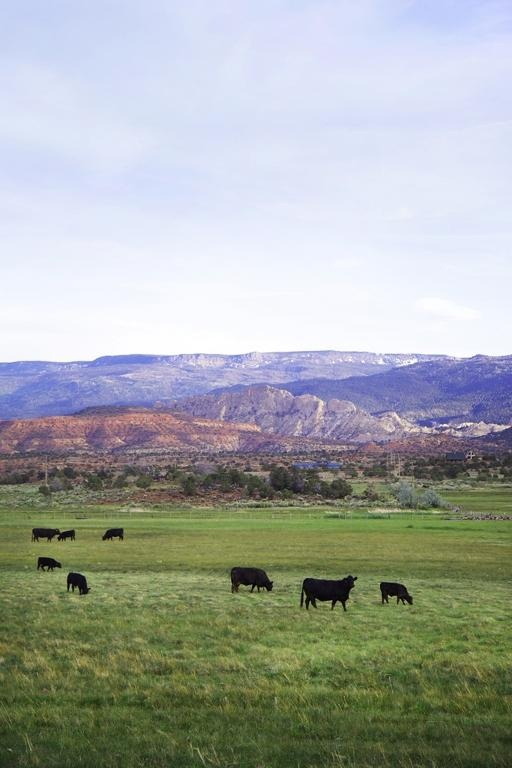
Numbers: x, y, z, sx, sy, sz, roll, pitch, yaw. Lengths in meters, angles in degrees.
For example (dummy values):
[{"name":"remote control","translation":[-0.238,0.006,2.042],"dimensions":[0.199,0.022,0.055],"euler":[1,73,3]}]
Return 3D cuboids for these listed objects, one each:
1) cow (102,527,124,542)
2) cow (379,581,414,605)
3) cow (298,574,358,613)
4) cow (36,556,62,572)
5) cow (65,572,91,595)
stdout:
[{"name":"cow","translation":[-9.470,9.926,53.034],"dimensions":[1.318,0.753,2.926],"euler":[0,-2,-5]},{"name":"cow","translation":[4.690,6.985,26.776],"dimensions":[1.044,0.662,0.781],"euler":[0,-1,9]},{"name":"cow","translation":[2.338,6.810,25.963],"dimensions":[1.813,1.156,0.608],"euler":[1,-17,-5]},{"name":"cow","translation":[-9.058,7.799,34.867],"dimensions":[1.243,0.649,0.463],"euler":[3,-2,-2]},{"name":"cow","translation":[-6.055,6.770,27.292],"dimensions":[0.675,0.644,1.583],"euler":[1,-2,-26]}]
